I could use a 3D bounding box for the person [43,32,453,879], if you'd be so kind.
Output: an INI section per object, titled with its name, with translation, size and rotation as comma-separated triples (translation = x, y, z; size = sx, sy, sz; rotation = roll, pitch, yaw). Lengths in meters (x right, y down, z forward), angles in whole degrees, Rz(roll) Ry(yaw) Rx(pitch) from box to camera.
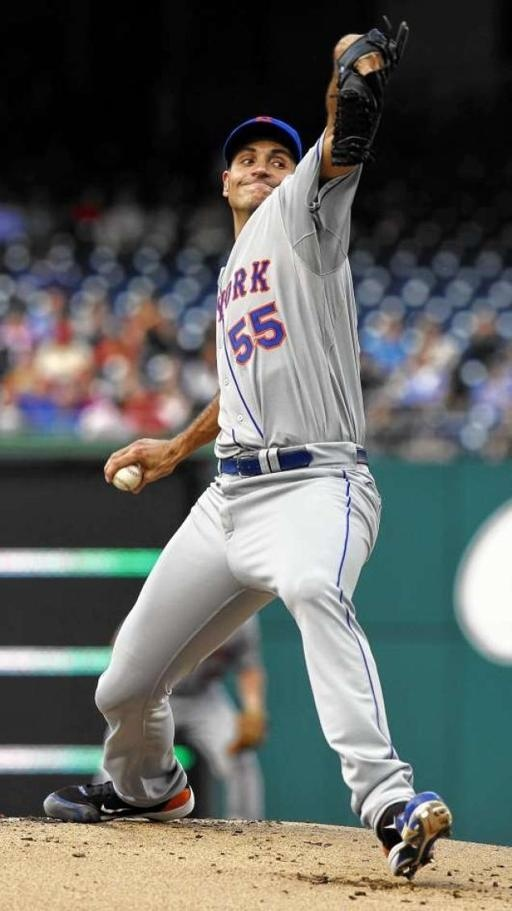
[person]
translation = 0.020, -0.012, 2.661
size = 0.472, 1.870, 1.098
rotation = 8, -11, -25

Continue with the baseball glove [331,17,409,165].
[baseball glove]
translation = 0.280, -0.775, 2.416
size = 0.129, 0.362, 0.172
rotation = 12, -4, -12

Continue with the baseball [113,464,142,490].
[baseball]
translation = -0.344, 0.063, 2.974
size = 0.069, 0.054, 0.061
rotation = 3, -37, 42

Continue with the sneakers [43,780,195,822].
[sneakers]
translation = -0.366, 0.923, 3.048
size = 0.400, 0.159, 0.140
rotation = 4, -10, -2
